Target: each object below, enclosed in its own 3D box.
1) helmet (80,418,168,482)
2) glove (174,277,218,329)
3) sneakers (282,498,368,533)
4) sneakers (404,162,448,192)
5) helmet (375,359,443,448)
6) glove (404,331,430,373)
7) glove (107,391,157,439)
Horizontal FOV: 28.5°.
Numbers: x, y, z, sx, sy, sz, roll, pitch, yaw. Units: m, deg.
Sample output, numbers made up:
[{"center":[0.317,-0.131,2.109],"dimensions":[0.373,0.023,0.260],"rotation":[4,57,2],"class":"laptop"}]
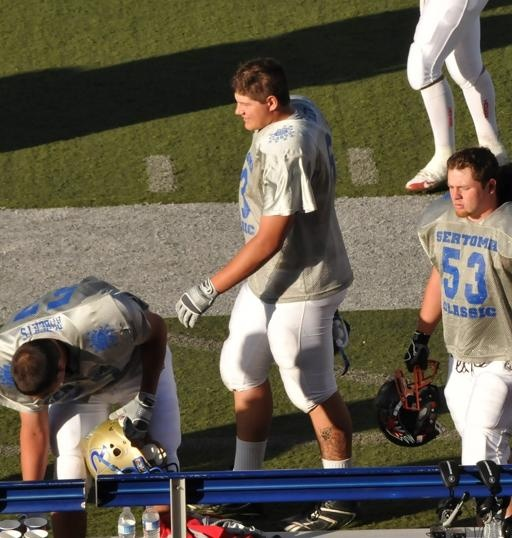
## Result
[{"center":[-0.517,0.720,4.009],"dimensions":[0.317,0.217,0.221],"rotation":[5,1,-3],"class":"helmet"},{"center":[-0.216,0.155,4.327],"dimensions":[0.086,0.229,0.141],"rotation":[4,40,-48],"class":"glove"},{"center":[0.312,1.085,4.398],"dimensions":[0.238,0.077,0.150],"rotation":[-8,3,-12],"class":"sneakers"},{"center":[1.104,-0.583,6.560],"dimensions":[0.361,0.141,0.118],"rotation":[-25,35,-18],"class":"sneakers"},{"center":[0.712,0.643,4.648],"dimensions":[0.325,0.306,0.242],"rotation":[-49,56,-1],"class":"helmet"},{"center":[0.738,0.389,4.617],"dimensions":[0.086,0.207,0.093],"rotation":[12,-15,-12],"class":"glove"},{"center":[-0.487,0.582,4.080],"dimensions":[0.172,0.186,0.136],"rotation":[-23,56,-16],"class":"glove"}]
